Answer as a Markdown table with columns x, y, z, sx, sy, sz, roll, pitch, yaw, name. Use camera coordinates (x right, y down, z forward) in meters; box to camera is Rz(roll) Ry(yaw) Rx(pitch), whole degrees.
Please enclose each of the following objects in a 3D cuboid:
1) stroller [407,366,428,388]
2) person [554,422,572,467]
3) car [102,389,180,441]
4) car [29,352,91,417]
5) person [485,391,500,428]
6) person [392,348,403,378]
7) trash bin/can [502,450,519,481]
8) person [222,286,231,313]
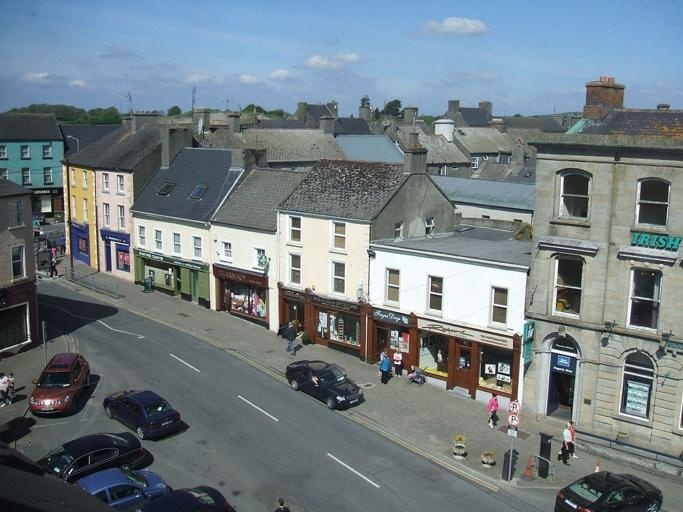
| x | y | z | sx | sy | sz | roll | pitch | yaw | name |
| --- | --- | --- | --- | --- | --- | --- | --- | --- | --- |
| 4.903 | 8.021 | 48.911 | 1.201 | 1.298 | 0.950 | -3 | 9 | -36 | stroller |
| 12.352 | 10.312 | 40.512 | 1.033 | 1.922 | 0.666 | -11 | 10 | -41 | person |
| -11.694 | 9.095 | 42.554 | 4.743 | 1.646 | 2.083 | 19 | 18 | 37 | car |
| -17.221 | 7.870 | 44.856 | 2.272 | 2.875 | 3.735 | -3 | 8 | 6 | car |
| 9.132 | 9.318 | 44.477 | 0.877 | 2.438 | 1.142 | 3 | 18 | 27 | person |
| 3.777 | 7.255 | 49.832 | 0.652 | 1.751 | 1.074 | -3 | 8 | 7 | person |
| 8.986 | 10.854 | 39.375 | 0.608 | 1.466 | 1.960 | -1 | 9 | 22 | trash bin/can |
| -9.604 | 3.569 | 60.926 | 0.272 | 2.029 | 0.898 | -11 | 10 | -42 | person |
